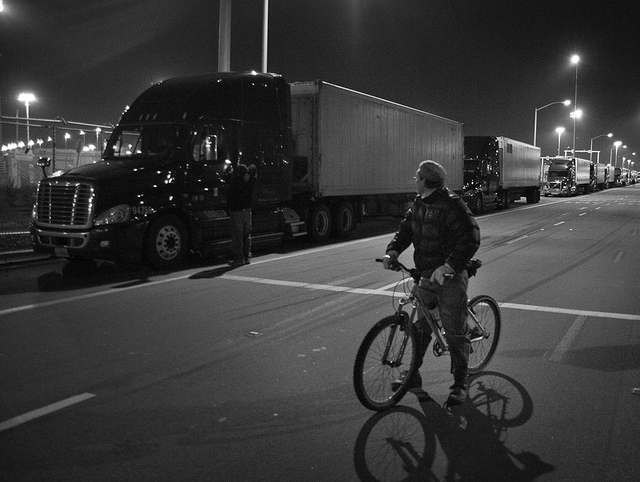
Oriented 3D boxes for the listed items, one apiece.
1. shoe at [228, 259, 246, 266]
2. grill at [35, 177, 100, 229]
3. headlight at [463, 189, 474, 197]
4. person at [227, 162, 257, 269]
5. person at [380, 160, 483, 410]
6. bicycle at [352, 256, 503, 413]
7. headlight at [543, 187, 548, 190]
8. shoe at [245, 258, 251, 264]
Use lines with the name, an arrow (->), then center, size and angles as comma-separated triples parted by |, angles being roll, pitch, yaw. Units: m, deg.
shoe -> -1.878, 0.471, 12.120 | 0.374, 0.236, 0.141 | 3, 2, -16
grill -> -5.108, -0.774, 10.785 | 1.566, 1.024, 0.306 | 4, 6, 27
headlight -> 7.824, -2.501, 28.212 | 0.741, 0.317, 0.348 | -5, 9, -37
person -> -1.796, -0.589, 12.214 | 0.727, 2.282, 0.525 | -3, 6, -30
person -> 1.108, 0.393, 5.235 | 0.887, 2.329, 0.855 | 0, 5, -3
bicycle -> 0.923, 0.943, 5.667 | 0.918, 1.433, 1.981 | 1, 1, 44
headlight -> 22.898, -5.328, 54.031 | 0.074, 0.207, 0.393 | -2, 8, -22
shoe -> -1.682, 0.453, 12.428 | 0.070, 0.153, 0.139 | -1, 1, 26
